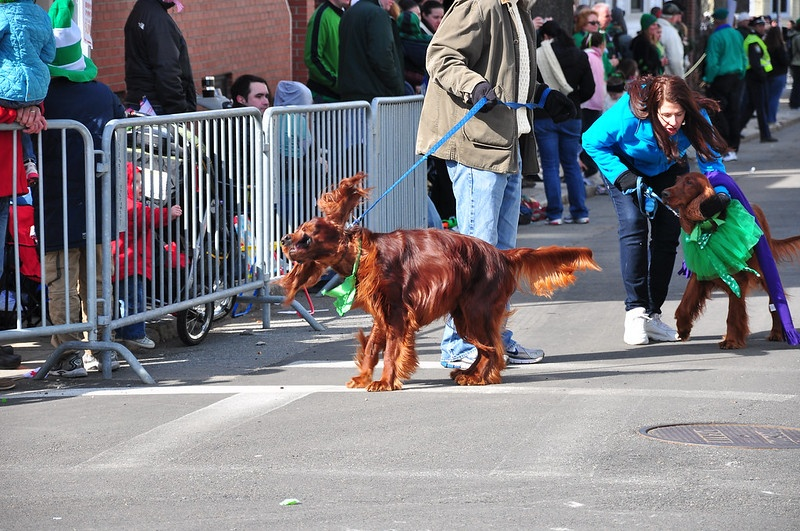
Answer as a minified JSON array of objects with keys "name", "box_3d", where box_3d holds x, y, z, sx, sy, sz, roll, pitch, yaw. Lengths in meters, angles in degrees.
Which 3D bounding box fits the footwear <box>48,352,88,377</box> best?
[{"name":"footwear","box_3d":[-2.378,0.721,9.209,0.325,0.162,0.128,3,0,14]}]

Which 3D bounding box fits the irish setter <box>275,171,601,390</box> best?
[{"name":"irish setter","box_3d":[0.344,0.153,8.822,2.267,1.401,0.617,-1,2,-10]}]

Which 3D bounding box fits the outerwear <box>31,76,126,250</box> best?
[{"name":"outerwear","box_3d":[-2.314,-0.672,9.028,0.071,1.576,1.164,5,7,30]}]

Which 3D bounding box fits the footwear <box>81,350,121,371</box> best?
[{"name":"footwear","box_3d":[-2.158,0.695,9.263,0.321,0.157,0.116,4,3,0]}]

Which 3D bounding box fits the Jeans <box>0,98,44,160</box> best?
[{"name":"Jeans","box_3d":[-2.644,-0.909,8.804,0.265,0.361,0.119,-1,5,-26]}]

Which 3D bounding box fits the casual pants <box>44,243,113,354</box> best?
[{"name":"casual pants","box_3d":[-2.351,0.246,9.198,0.401,0.772,0.402,-4,14,-15]}]

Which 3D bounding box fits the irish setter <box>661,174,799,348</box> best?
[{"name":"irish setter","box_3d":[2.515,-0.041,9.702,1.053,1.371,0.566,2,13,12]}]

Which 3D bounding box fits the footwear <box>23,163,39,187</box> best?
[{"name":"footwear","box_3d":[-2.599,-0.632,8.946,0.091,0.146,0.074,-36,-12,-15]}]

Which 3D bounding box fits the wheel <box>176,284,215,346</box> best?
[{"name":"wheel","box_3d":[-1.615,0.386,9.926,0.108,0.421,0.420,4,15,35]}]

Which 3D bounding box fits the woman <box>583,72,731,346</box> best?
[{"name":"woman","box_3d":[2.014,-0.410,9.791,1.107,1.966,0.899,0,2,36]}]
